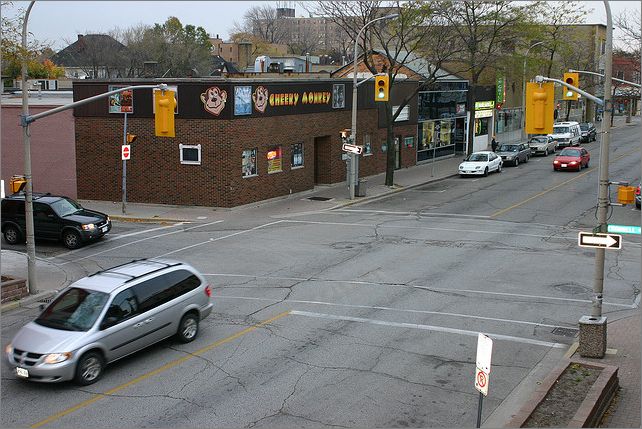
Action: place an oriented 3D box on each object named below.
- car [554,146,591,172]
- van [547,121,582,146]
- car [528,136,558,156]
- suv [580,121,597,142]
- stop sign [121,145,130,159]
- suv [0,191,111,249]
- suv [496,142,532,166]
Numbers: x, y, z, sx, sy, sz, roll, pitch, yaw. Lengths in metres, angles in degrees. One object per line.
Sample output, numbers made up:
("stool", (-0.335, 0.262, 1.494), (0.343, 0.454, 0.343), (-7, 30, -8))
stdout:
("car", (19.785, -4.336, 49.313), (1.790, 1.664, 3.640), (5, 11, 35))
("van", (25.377, -8.182, 64.429), (1.596, 2.503, 4.755), (5, 12, 36))
("car", (21.444, -6.631, 60.322), (2.111, 1.777, 3.791), (2, 10, 23))
("suv", (29.735, -9.165, 69.837), (1.723, 1.352, 3.701), (-1, 4, 35))
("stop sign", (-10.513, -3.323, 33.493), (0.413, 0.810, 1.155), (-6, 10, -20))
("suv", (-12.401, 0.185, 29.389), (5.072, 1.971, 2.337), (1, 8, 11))
("suv", (16.518, -5.114, 53.480), (1.998, 1.746, 3.892), (2, 10, 25))
